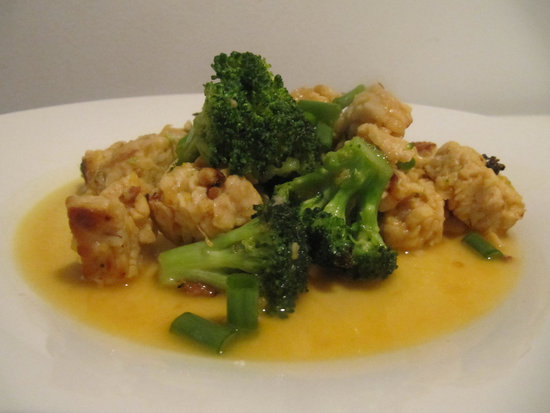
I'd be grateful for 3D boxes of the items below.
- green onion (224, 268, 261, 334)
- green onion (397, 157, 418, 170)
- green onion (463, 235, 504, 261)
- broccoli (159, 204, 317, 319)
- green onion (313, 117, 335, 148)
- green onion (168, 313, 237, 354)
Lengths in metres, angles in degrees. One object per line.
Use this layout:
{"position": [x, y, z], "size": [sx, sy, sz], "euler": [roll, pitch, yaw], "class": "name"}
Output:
{"position": [-0.248, 0.735, 4.366], "size": [0.419, 0.590, 0.362], "euler": [-1, 6, -5], "class": "green onion"}
{"position": [1.208, -0.395, 5.123], "size": [0.154, 0.034, 0.179], "euler": [-6, -6, 22], "class": "green onion"}
{"position": [1.943, 0.389, 5.264], "size": [0.184, 0.083, 0.303], "euler": [-17, 38, -19], "class": "green onion"}
{"position": [-0.323, 0.448, 4.798], "size": [1.123, 0.803, 0.712], "euler": [-9, 2, 2], "class": "broccoli"}
{"position": [0.453, -0.671, 5.131], "size": [0.210, 0.221, 0.061], "euler": [-34, 1, -19], "class": "green onion"}
{"position": [-0.563, 0.956, 4.250], "size": [0.465, 0.170, 0.256], "euler": [16, -11, 23], "class": "green onion"}
